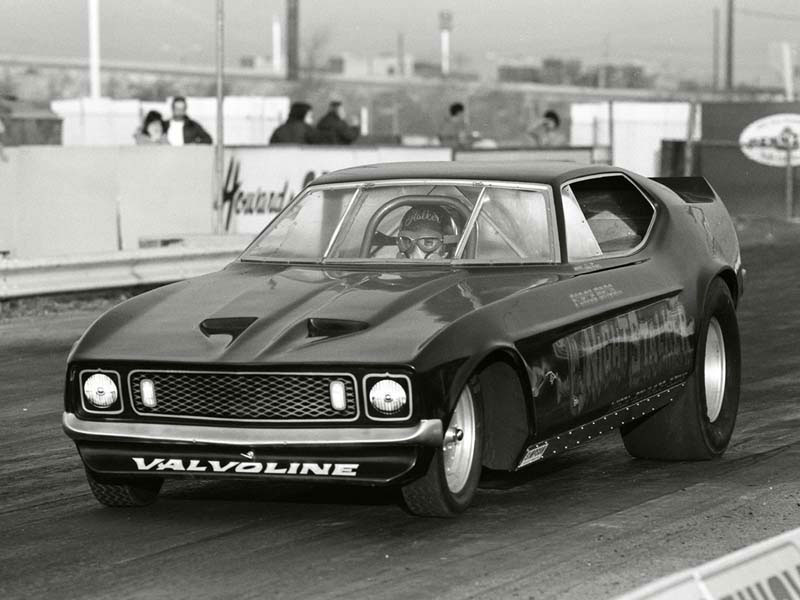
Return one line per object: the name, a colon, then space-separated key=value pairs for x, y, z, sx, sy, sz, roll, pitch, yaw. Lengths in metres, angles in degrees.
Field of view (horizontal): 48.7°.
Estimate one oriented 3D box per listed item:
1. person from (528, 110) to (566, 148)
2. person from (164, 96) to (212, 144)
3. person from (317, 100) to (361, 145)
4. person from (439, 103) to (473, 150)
person: x=3.375 y=-3.944 z=20.417 sx=0.815 sy=0.883 sz=0.201 roll=14 pitch=12 yaw=17
person: x=-3.503 y=-2.873 z=14.582 sx=0.767 sy=0.834 sz=0.314 roll=4 pitch=4 yaw=-2
person: x=-1.191 y=-3.370 z=16.607 sx=0.738 sy=1.009 sz=1.644 roll=-1 pitch=4 yaw=-3
person: x=1.216 y=-3.965 z=19.817 sx=0.719 sy=0.902 sz=0.906 roll=-1 pitch=4 yaw=5
